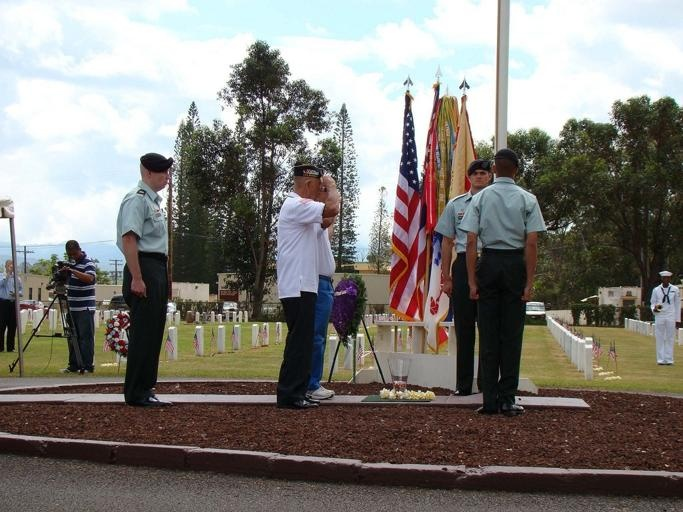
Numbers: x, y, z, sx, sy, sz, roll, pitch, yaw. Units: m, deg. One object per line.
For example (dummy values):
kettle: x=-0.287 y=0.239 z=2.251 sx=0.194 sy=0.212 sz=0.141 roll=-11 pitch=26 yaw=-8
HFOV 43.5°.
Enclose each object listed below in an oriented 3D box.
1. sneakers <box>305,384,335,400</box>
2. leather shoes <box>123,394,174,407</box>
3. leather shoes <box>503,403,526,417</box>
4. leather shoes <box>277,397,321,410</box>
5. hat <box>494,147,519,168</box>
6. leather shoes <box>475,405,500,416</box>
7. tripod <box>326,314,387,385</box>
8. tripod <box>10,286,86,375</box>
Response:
sneakers: x=-0.264 y=1.682 z=10.603 sx=0.324 sy=0.176 sz=0.133 roll=-1 pitch=-6 yaw=17
leather shoes: x=-2.324 y=1.694 z=10.241 sx=0.545 sy=0.227 sz=0.196 roll=-2 pitch=-1 yaw=2
leather shoes: x=1.976 y=1.749 z=9.846 sx=0.108 sy=0.138 sz=0.276 roll=0 pitch=2 yaw=40
leather shoes: x=-0.511 y=1.665 z=10.071 sx=0.483 sy=0.218 sz=0.175 roll=-2 pitch=1 yaw=-3
hat: x=1.991 y=-1.190 z=10.347 sx=0.195 sy=0.156 sz=0.284 roll=9 pitch=8 yaw=3
leather shoes: x=1.681 y=1.768 z=9.881 sx=0.281 sy=0.126 sz=0.109 roll=3 pitch=-3 yaw=7
tripod: x=0.261 y=1.408 z=12.452 sx=0.721 sy=0.900 sz=0.707 roll=-2 pitch=-7 yaw=41
tripod: x=-5.095 y=1.331 z=15.633 sx=1.056 sy=1.742 sz=1.228 roll=1 pitch=-22 yaw=3
